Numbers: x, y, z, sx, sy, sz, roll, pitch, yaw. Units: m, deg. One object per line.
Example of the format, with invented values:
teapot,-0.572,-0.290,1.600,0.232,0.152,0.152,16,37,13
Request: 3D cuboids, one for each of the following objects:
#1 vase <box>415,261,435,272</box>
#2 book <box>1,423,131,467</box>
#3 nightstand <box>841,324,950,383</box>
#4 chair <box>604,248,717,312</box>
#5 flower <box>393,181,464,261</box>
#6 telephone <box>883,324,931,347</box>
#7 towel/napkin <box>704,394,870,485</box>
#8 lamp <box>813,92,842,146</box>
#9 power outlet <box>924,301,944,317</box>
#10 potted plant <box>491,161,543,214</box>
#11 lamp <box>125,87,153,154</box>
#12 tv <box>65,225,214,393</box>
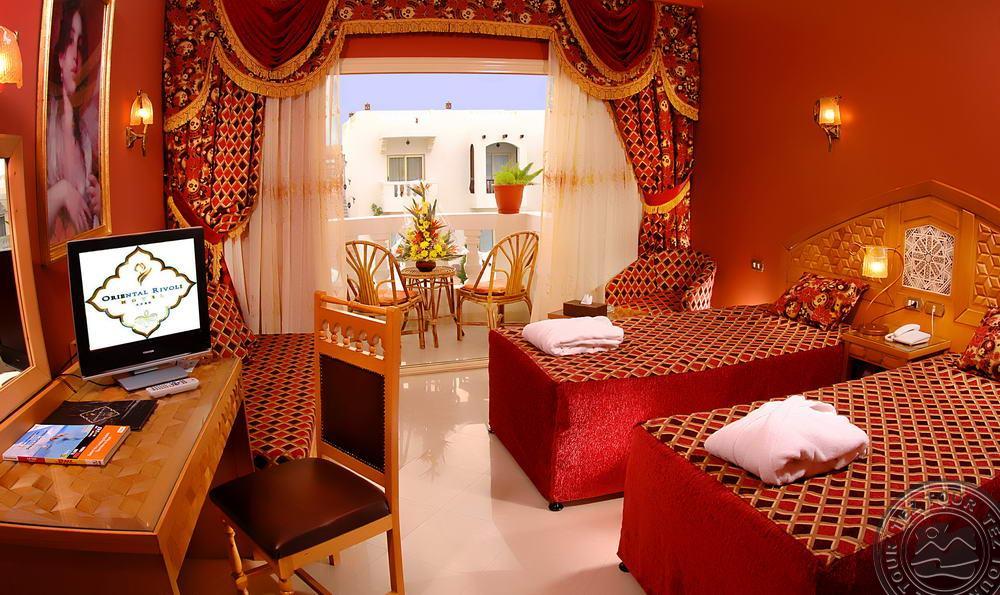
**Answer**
vase,-0.804,-0.336,6.771,0.136,0.076,0.134,-7,12,-32
book,-1.914,0.645,2.835,0.290,0.028,0.203,2,24,3
nightstand,2.873,0.368,4.744,0.411,0.535,0.530,-9,15,-24
chair,1.598,-0.155,6.223,0.698,0.848,0.760,11,16,35
flower,-0.801,-0.796,7.202,0.942,0.944,0.936,7,11,41
telephone,2.924,0.272,4.666,0.196,0.060,0.191,-11,15,-16
towel/napkin,1.447,0.718,3.257,0.497,0.182,0.490,-13,10,-24
lamp,2.695,-1.454,5.313,0.227,0.330,0.216,-9,15,-21
power outlet,3.182,0.080,4.753,0.088,0.109,0.161,-6,9,-23
potted plant,0.149,-1.466,8.239,0.851,0.858,0.792,0,2,1
lamp,-2.767,-1.337,4.951,0.174,0.449,0.445,-2,12,-23
tv,-1.932,0.087,3.441,0.811,0.899,0.291,-8,7,-38
